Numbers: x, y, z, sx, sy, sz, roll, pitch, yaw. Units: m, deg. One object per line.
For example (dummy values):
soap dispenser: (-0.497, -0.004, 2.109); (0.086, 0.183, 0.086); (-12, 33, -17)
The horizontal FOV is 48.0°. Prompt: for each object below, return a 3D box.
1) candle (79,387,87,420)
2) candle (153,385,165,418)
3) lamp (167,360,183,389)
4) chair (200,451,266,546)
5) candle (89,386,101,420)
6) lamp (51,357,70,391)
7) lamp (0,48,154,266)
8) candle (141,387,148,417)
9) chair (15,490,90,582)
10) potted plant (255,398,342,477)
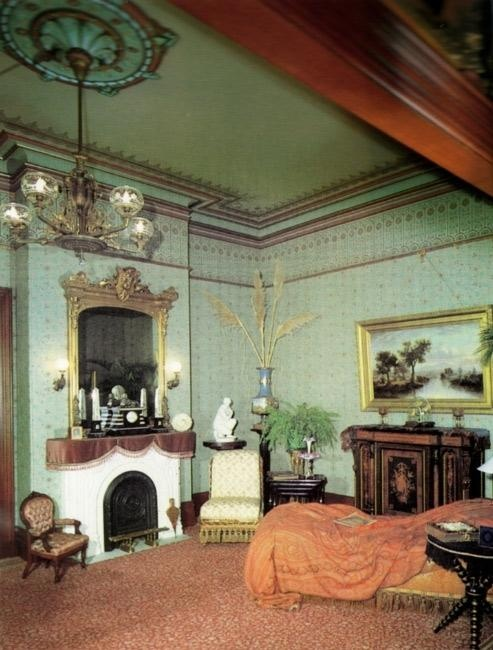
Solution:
candle: (-1.795, 0.873, 6.061); (0.052, 0.360, 0.152); (-4, -7, 10)
candle: (-1.070, 0.937, 6.826); (0.135, 0.359, 0.046); (4, -9, -40)
lamp: (-0.922, 0.635, 7.015); (0.183, 0.363, 0.284); (-1, -7, -8)
chair: (-0.132, 1.946, 6.327); (0.695, 0.867, 0.927); (-1, -7, 4)
candle: (-1.675, 0.873, 6.152); (0.109, 0.368, 0.241); (0, -7, -16)
lamp: (-1.977, 0.538, 5.920); (0.169, 0.343, 0.161); (2, -8, -31)
lamp: (-1.572, -1.552, 4.970); (1.355, 2.021, 1.219); (3, -20, -16)
candle: (-1.225, 0.925, 6.633); (0.085, 0.332, 0.292); (-1, -7, -11)
chair: (-1.767, 1.933, 5.132); (0.498, 0.682, 0.491); (-2, -5, 22)
potted plant: (0.680, 1.427, 7.176); (1.053, 0.910, 0.959); (1, -9, -5)
